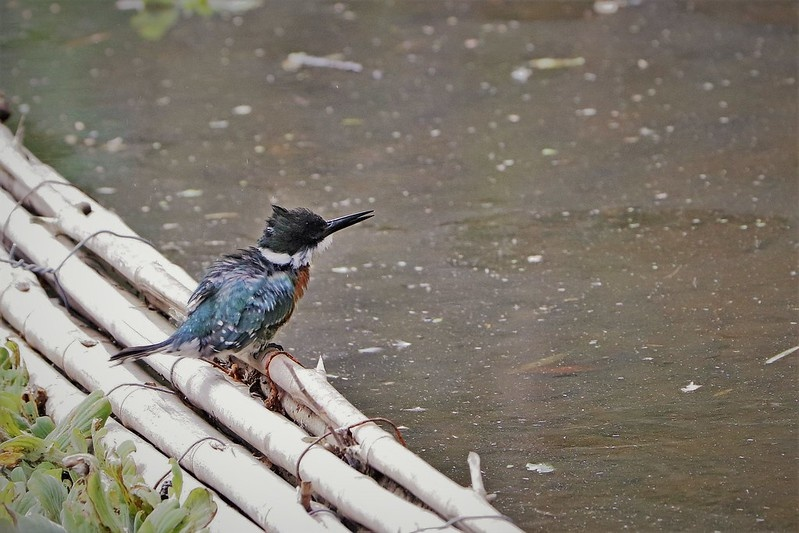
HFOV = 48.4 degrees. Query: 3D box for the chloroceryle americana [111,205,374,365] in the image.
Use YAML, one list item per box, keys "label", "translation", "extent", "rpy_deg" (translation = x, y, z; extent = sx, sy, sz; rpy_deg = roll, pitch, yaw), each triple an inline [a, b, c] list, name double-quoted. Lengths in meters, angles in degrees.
- label: "chloroceryle americana"
  translation: [-0.432, 0.066, 2.400]
  extent: [0.818, 0.341, 0.260]
  rpy_deg: [-19, 33, -35]
